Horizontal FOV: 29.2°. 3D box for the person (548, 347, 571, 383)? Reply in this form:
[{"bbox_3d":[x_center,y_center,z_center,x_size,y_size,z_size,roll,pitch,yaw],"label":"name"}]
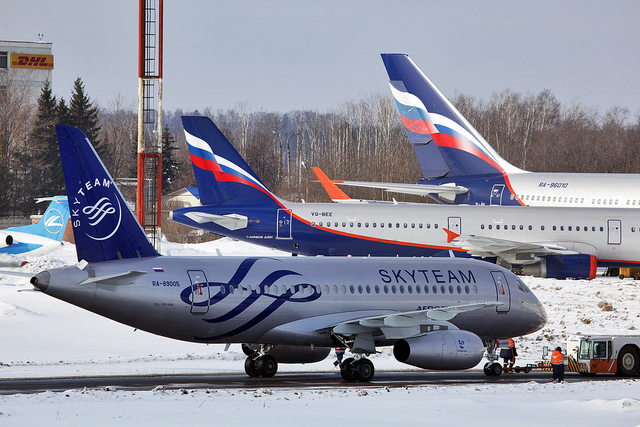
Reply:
[{"bbox_3d":[11.699,7.445,60.291,0.772,1.802,1.488,9,13,11],"label":"person"}]
